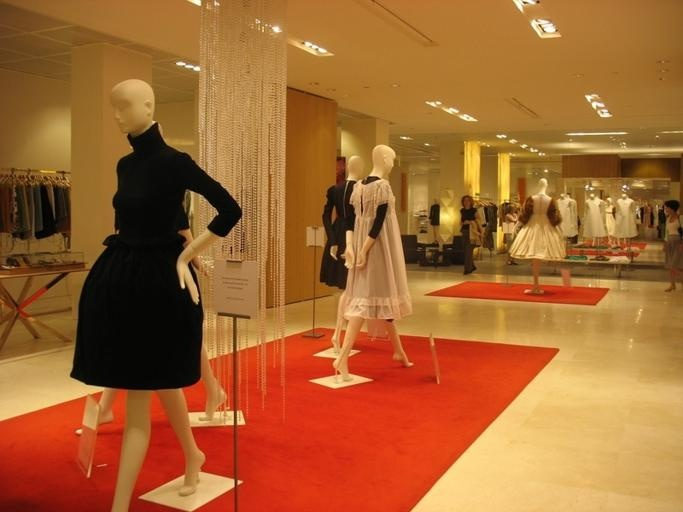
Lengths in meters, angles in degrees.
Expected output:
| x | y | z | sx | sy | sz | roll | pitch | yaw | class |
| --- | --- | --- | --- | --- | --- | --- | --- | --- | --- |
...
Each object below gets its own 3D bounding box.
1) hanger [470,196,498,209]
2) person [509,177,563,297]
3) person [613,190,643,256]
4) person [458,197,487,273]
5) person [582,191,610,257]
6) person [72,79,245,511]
| x | y | z | sx | sy | sz | roll | pitch | yaw | class |
| --- | --- | --- | --- | --- | --- | --- | --- | --- | --- |
| 4.632 | -1.756 | 16.347 | 0.737 | 0.452 | 1.053 | 4 | 4 | 34 | hanger |
| 3.877 | -0.367 | 9.711 | 1.036 | 2.252 | 0.863 | 1 | 13 | 19 | person |
| 7.468 | -0.821 | 13.192 | 0.503 | 1.609 | 1.300 | 2 | 7 | 29 | person |
| 3.343 | -0.527 | 12.829 | 0.533 | 2.000 | 0.753 | 1 | 6 | 17 | person |
| 6.592 | -0.907 | 12.963 | 0.564 | 1.314 | 0.546 | 2 | 7 | 25 | person |
| -0.882 | 0.228 | 2.359 | 0.742 | 2.102 | 0.516 | -5 | 7 | -30 | person |
